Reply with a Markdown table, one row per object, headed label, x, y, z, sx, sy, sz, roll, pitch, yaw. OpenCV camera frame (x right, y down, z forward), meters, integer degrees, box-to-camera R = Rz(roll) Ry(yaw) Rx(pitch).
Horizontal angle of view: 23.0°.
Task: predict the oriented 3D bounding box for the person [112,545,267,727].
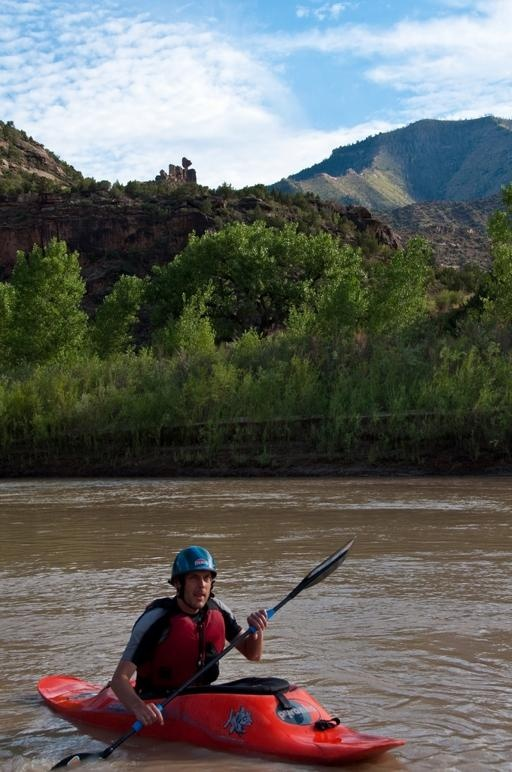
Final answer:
| label | x | y | z | sx | sy | sz | roll | pitch | yaw |
| --- | --- | --- | --- | --- | --- | --- | --- | --- | --- |
| person | -0.369 | 1.394 | 6.960 | 0.648 | 1.368 | 0.488 | -3 | 19 | -42 |

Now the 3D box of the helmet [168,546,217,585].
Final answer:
| label | x | y | z | sx | sy | sz | roll | pitch | yaw |
| --- | --- | --- | --- | --- | --- | --- | --- | --- | --- |
| helmet | -0.325 | 0.891 | 6.430 | 0.191 | 0.217 | 0.169 | -1 | -2 | 41 |

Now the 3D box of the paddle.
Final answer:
| label | x | y | z | sx | sy | sz | roll | pitch | yaw |
| --- | --- | --- | --- | --- | --- | --- | --- | --- | --- |
| paddle | -0.301 | 1.515 | 7.030 | 1.744 | 0.275 | 0.078 | -38 | 15 | -28 |
